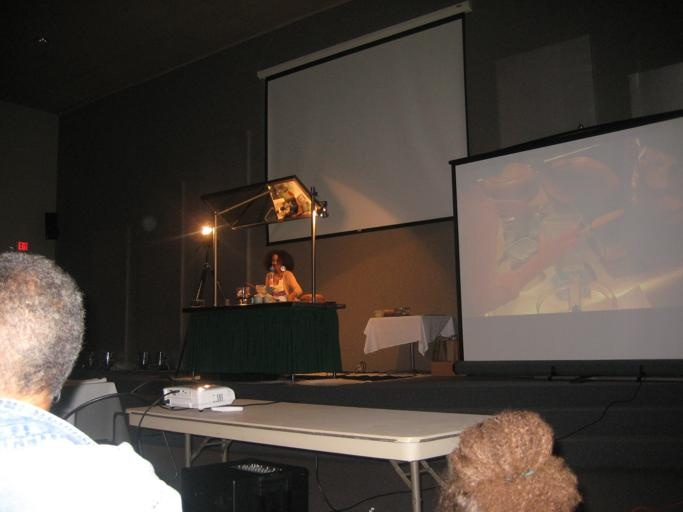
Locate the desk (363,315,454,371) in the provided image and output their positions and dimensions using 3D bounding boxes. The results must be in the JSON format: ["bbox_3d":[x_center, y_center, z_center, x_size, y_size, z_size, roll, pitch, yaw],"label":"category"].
[{"bbox_3d":[0.738,0.993,6.220,0.631,0.497,0.653,-11,-19,37],"label":"desk"}]

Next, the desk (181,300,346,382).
[{"bbox_3d":[-0.708,0.724,5.474,1.366,0.610,0.488,-4,-4,22],"label":"desk"}]
